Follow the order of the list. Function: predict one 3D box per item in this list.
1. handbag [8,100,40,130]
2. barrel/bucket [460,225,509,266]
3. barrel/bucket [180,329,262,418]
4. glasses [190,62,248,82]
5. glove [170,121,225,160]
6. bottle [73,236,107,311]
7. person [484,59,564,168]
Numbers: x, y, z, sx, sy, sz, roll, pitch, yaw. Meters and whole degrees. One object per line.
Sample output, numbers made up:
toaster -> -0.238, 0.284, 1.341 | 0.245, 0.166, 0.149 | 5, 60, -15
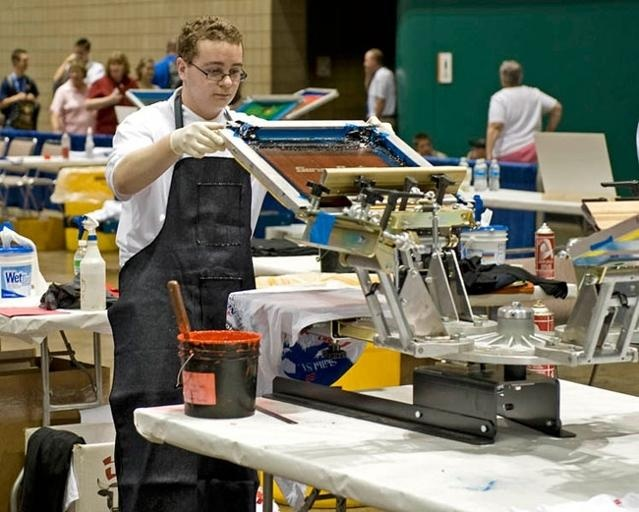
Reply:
handbag -> -3.704, -1.761, 13.416 | 0.368, 0.340, 0.601 | -4, 6, -14
barrel/bucket -> 0.752, -0.053, 4.914 | 0.233, 0.175, 0.235 | -1, -1, 0
barrel/bucket -> -0.298, 0.341, 3.199 | 0.229, 0.240, 0.189 | 4, 12, 13
glasses -> -0.350, -0.617, 3.596 | 0.162, 0.057, 0.059 | -2, 12, -17
glove -> -0.375, -0.353, 3.273 | 0.147, 0.111, 0.054 | 4, -25, 8
bottle -> -0.927, 0.059, 4.371 | 0.097, 0.299, 0.138 | -1, 12, -13
person -> 1.704, -1.225, 9.087 | 0.505, 0.823, 0.580 | 7, 13, 26
